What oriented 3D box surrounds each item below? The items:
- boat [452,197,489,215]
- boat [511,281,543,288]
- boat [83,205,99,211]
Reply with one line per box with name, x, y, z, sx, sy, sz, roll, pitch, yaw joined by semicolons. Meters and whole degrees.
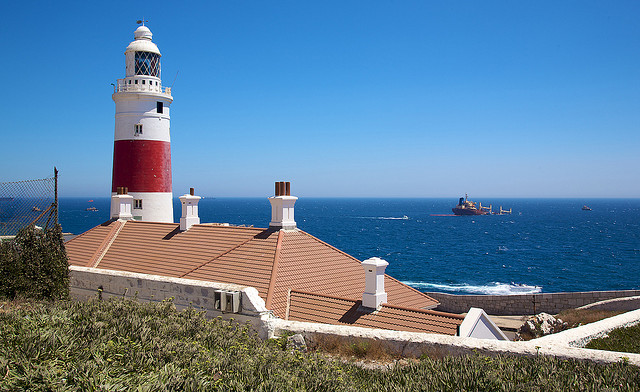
boat;59.863;4.678;190.976;13.285;6.502;7.032;8;-6;-37
boat;25.463;11.489;59.704;2.836;0.637;0.810;11;7;16
boat;-111.400;5.686;228.483;11.122;3.288;2.947;0;-2;1
